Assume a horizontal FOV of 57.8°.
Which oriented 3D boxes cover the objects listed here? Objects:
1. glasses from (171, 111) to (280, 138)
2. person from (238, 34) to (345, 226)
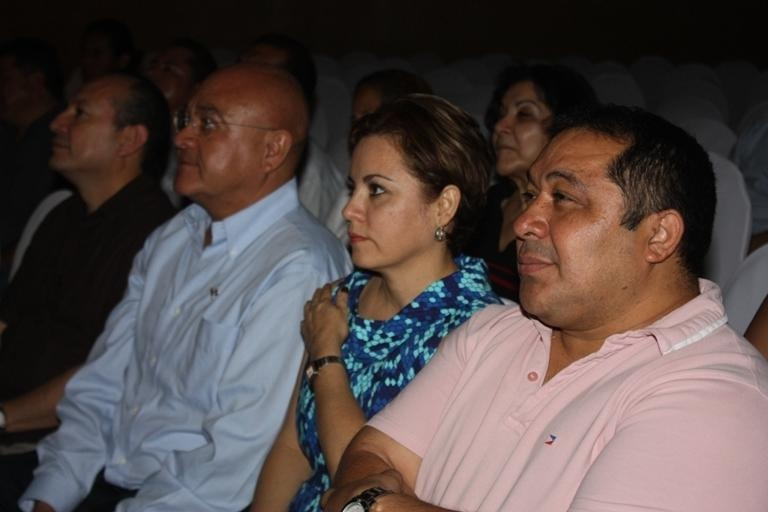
[{"bbox_3d":[-0.804,-0.622,3.285,0.251,0.071,0.230,6,6,-27],"label":"glasses"},{"bbox_3d":[-0.592,-0.902,4.883,0.937,1.224,0.331,-2,3,-21],"label":"person"}]
